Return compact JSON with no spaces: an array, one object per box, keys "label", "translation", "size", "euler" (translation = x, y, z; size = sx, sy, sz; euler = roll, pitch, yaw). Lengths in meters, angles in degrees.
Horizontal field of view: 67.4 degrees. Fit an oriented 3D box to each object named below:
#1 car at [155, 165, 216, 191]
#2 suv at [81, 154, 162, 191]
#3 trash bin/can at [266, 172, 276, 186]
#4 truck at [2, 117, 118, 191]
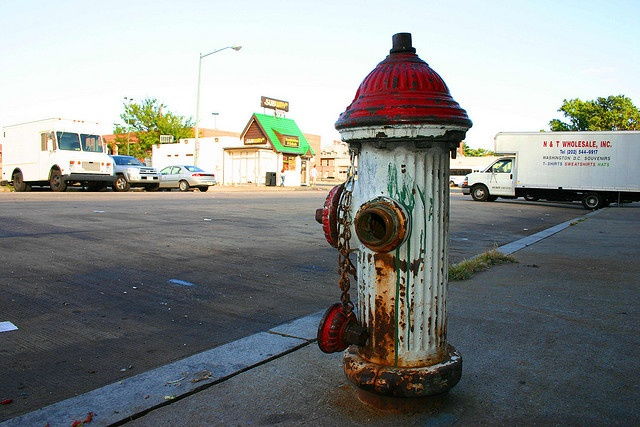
[{"label":"car","translation":[-8.453,-2.241,30.227],"size":[3.787,1.423,1.692],"euler":[7,8,40]},{"label":"suv","translation":[-10.121,-2.311,26.186],"size":[2.826,1.546,1.468],"euler":[0,1,37]},{"label":"trash bin/can","translation":[-4.099,-2.891,39.974],"size":[0.687,1.100,0.568],"euler":[-3,9,-21]},{"label":"truck","translation":[-13.994,-2.936,24.140],"size":[6.675,3.638,2.715],"euler":[4,9,16]}]
